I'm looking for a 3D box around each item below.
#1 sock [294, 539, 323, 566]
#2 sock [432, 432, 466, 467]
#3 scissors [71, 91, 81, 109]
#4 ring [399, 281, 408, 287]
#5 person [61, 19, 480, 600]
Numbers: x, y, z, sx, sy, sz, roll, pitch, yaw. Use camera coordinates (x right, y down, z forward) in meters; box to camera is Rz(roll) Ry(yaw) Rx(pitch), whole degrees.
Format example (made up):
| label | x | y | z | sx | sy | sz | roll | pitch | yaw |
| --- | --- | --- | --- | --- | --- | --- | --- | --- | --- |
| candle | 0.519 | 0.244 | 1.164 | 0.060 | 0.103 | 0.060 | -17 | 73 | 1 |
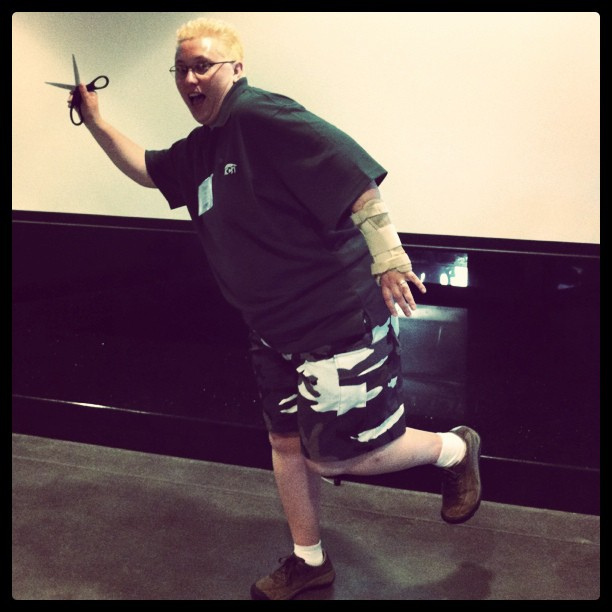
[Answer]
| label | x | y | z | sx | sy | sz | roll | pitch | yaw |
| --- | --- | --- | --- | --- | --- | --- | --- | --- | --- |
| sock | 0.008 | 0.728 | 1.823 | 0.065 | 0.073 | 0.066 | -3 | 1 | 20 |
| sock | 0.448 | 0.443 | 1.911 | 0.083 | 0.086 | 0.107 | -9 | -12 | 41 |
| scissors | -0.713 | -0.638 | 1.937 | 0.025 | 0.038 | 0.013 | 4 | 11 | -4 |
| ring | 0.239 | -0.053 | 1.541 | 0.017 | 0.013 | 0.010 | -8 | 9 | 9 |
| person | -0.059 | -0.010 | 1.865 | 0.949 | 1.626 | 0.560 | 0 | 12 | 44 |
